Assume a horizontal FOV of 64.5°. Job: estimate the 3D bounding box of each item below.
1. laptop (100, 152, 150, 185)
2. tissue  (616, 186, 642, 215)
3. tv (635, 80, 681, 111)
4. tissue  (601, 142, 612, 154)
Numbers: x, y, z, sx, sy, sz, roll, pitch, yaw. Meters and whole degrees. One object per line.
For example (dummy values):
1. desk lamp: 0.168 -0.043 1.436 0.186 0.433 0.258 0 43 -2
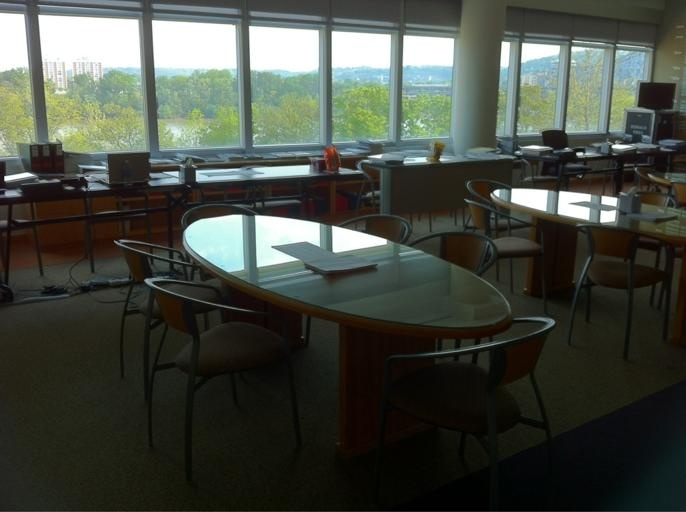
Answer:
1. laptop: -2.061 -0.832 5.050 0.345 0.307 0.450 18 20 33
2. tissue : 2.347 -0.458 4.468 0.221 0.315 0.200 -7 9 -44
3. tv: 5.917 -2.974 10.159 0.933 0.685 0.250 4 16 14
4. tissue : 3.940 -1.617 8.186 0.134 0.156 0.172 -10 13 -38
